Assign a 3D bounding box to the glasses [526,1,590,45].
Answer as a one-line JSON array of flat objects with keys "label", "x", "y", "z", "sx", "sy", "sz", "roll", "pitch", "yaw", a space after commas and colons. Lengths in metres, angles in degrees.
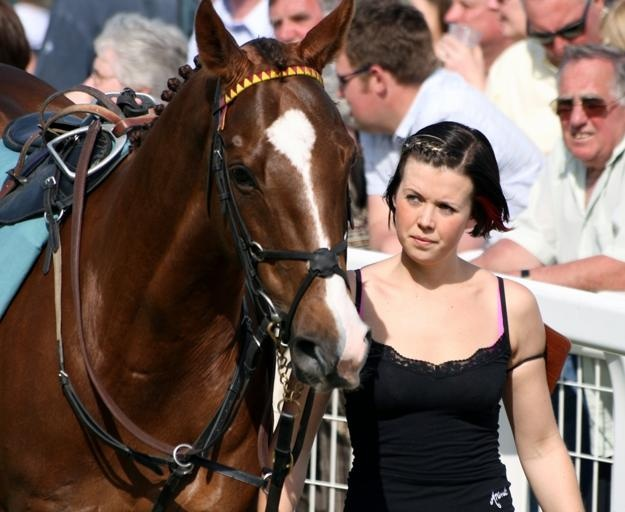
[{"label": "glasses", "x": 1.192, "y": -1.092, "z": 6.823, "sx": 0.209, "sy": 0.218, "sz": 0.064, "roll": -8, "pitch": -33, "yaw": 42}]
